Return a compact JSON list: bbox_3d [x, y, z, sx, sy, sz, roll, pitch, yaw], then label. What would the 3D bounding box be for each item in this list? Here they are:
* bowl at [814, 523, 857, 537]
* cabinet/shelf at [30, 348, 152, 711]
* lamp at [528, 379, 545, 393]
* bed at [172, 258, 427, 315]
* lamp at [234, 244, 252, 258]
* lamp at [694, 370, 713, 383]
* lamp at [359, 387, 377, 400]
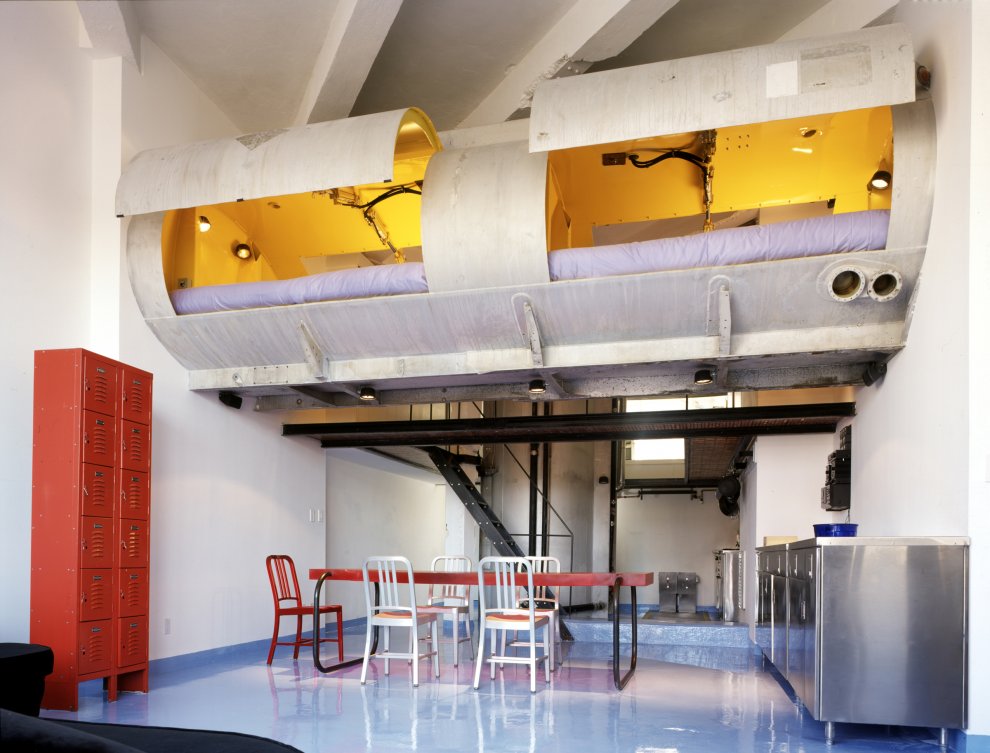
[{"bbox_3d":[2.480,1.109,6.888,0.281,0.117,0.414,-3,-12,18],"label":"bowl"},{"bbox_3d":[-3.429,1.261,7.947,0.490,2.810,1.054,-2,-11,16],"label":"cabinet/shelf"},{"bbox_3d":[0.388,0.092,9.082,0.115,0.088,0.118,-3,-5,30],"label":"lamp"},{"bbox_3d":[-1.667,-0.786,8.353,2.502,0.454,0.351,-5,5,15],"label":"bed"},{"bbox_3d":[-2.656,-1.306,9.992,0.089,0.168,0.273,-1,-12,11],"label":"lamp"},{"bbox_3d":[1.885,-0.011,8.513,0.116,0.087,0.119,1,12,18],"label":"lamp"},{"bbox_3d":[-1.287,0.174,9.557,0.142,0.111,0.053,-2,10,26],"label":"lamp"}]
